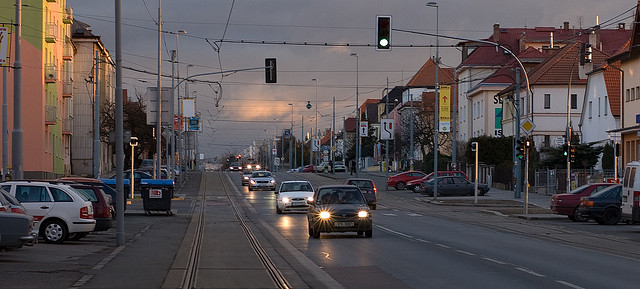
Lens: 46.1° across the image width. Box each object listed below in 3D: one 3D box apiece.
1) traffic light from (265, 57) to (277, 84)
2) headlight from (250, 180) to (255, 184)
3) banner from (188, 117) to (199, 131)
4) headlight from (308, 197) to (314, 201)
[{"bbox_3d":[-4.809,-7.196,73.676,1.066,2.264,0.474,-4,11,-21],"label":"traffic light"},{"bbox_3d":[-8.531,4.726,95.442,0.293,0.431,0.512,-6,10,-34],"label":"headlight"},{"bbox_3d":[-17.726,-2.861,105.507,1.286,1.630,1.620,-3,9,-15],"label":"banner"},{"bbox_3d":[-0.757,4.474,62.198,0.412,0.295,0.917,-1,7,-8],"label":"headlight"}]
